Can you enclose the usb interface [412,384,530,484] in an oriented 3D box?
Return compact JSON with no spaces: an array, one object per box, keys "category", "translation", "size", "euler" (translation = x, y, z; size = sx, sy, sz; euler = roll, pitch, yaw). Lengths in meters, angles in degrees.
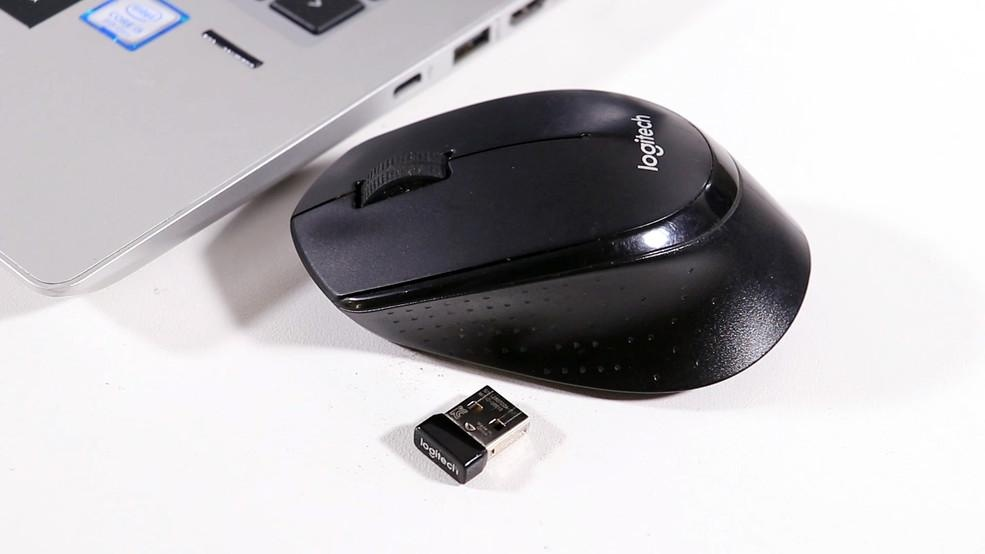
[{"category":"usb interface","translation":[-0.025,0.137,0.706],"size":[0.089,0.029,0.068],"euler":[-34,58,-28]}]
